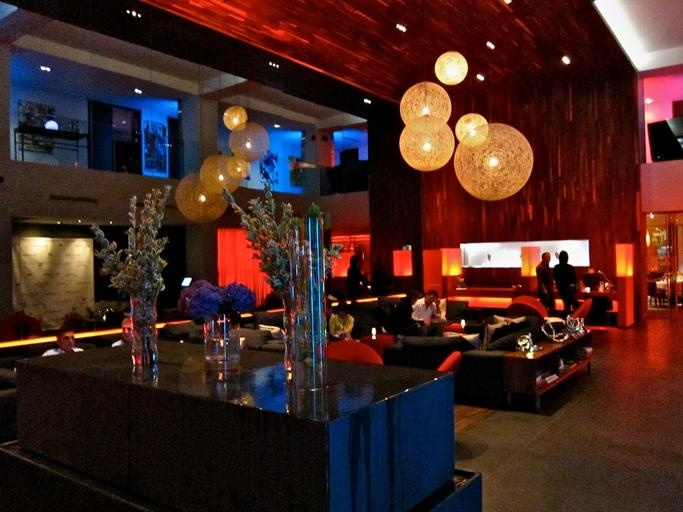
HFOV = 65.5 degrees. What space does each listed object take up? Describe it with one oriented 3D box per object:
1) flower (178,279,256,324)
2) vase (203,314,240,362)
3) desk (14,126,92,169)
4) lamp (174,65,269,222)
[{"bbox_3d":[-0.672,0.242,2.918,0.315,0.200,0.231,1,-1,-32],"label":"flower"},{"bbox_3d":[-0.607,0.431,2.855,0.195,0.244,0.205,0,-5,-4],"label":"vase"},{"bbox_3d":[-3.871,-1.393,7.149,0.941,0.526,0.341,2,-12,-3],"label":"desk"},{"bbox_3d":[-2.439,-1.874,10.723,0.577,2.382,2.060,6,6,38],"label":"lamp"}]
